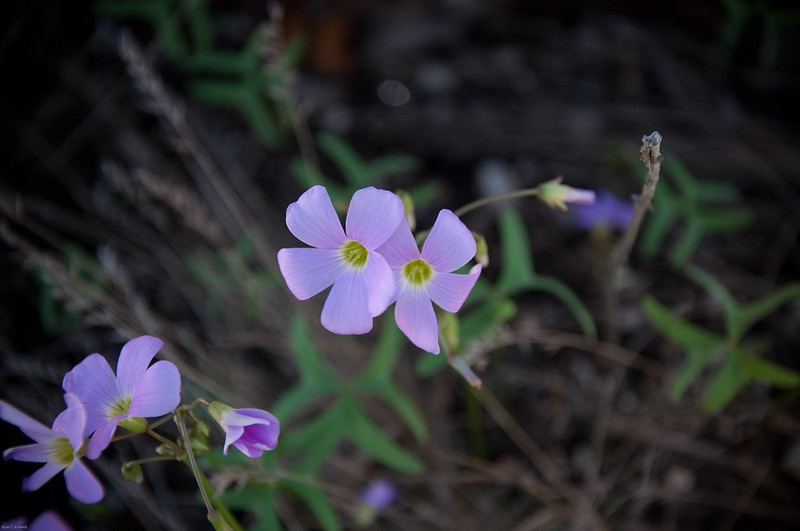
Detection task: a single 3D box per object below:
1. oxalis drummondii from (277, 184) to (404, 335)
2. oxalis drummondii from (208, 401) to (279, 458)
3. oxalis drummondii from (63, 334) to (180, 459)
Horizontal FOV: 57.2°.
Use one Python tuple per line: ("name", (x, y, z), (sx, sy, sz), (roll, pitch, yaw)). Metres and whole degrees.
("oxalis drummondii", (-0.071, -0.018, 1.078), (0.206, 0.078, 0.218), (-13, 40, 17))
("oxalis drummondii", (-0.209, 0.218, 0.998), (0.089, 0.053, 0.072), (-16, 48, -5))
("oxalis drummondii", (-0.373, 0.168, 0.987), (0.161, 0.068, 0.174), (10, 72, 20))
